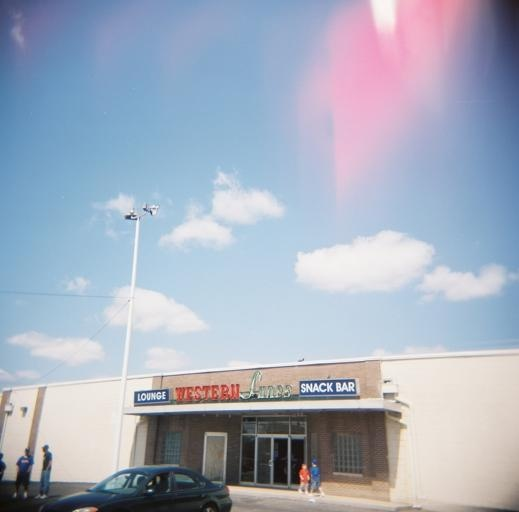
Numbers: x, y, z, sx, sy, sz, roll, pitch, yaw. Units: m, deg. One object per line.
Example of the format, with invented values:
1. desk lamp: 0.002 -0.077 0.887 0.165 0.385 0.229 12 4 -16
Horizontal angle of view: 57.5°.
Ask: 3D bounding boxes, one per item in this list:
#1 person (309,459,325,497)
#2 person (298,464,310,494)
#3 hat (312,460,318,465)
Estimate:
1. person: 2.215 8.737 18.666 0.483 1.276 0.993 -2 -17 5
2. person: 1.788 8.972 19.076 0.436 1.021 1.098 -1 -17 4
3. hat: 2.173 8.188 18.701 0.180 0.135 0.180 6 -10 -37
